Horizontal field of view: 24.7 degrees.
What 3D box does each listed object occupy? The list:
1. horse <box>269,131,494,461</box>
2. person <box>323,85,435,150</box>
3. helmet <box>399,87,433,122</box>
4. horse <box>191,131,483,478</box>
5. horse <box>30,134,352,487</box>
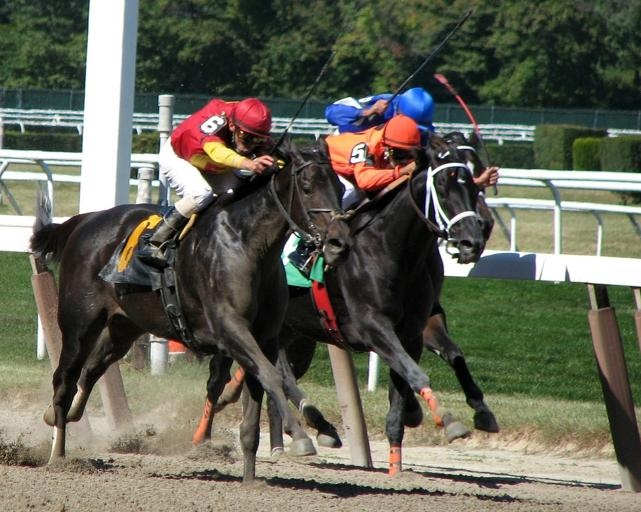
[{"bbox_3d":[0.259,0.501,13.000,1.049,2.724,3.574,-4,-5,-34],"label":"horse"},{"bbox_3d":[0.445,-1.295,13.264,1.238,0.482,0.876,5,7,8],"label":"person"},{"bbox_3d":[0.790,-1.349,12.947,0.443,0.271,0.322,-2,19,-20],"label":"helmet"},{"bbox_3d":[0.319,0.657,13.083,0.935,2.874,3.985,2,-11,-27],"label":"horse"},{"bbox_3d":[-1.314,0.452,12.514,3.818,2.680,0.974,-3,-4,41],"label":"horse"}]
